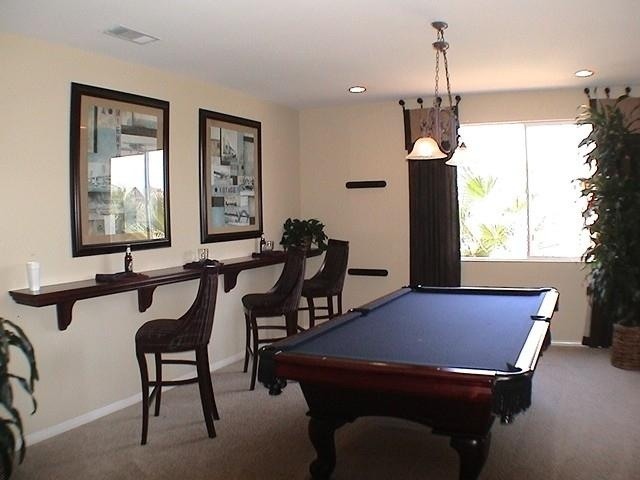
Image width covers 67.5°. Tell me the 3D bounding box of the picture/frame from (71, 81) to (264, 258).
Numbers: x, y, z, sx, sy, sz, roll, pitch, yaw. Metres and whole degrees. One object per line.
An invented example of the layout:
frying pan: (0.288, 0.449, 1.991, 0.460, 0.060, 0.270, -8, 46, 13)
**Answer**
picture/frame: (-1.571, -0.731, 4.801, 0.083, 1.203, 1.945, -1, -1, 31)

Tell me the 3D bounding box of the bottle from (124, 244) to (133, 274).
bottle: (-1.741, 0.187, 4.378, 0.084, 0.264, 0.346, -3, 11, -22)

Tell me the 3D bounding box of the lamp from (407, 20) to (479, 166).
lamp: (1.281, -1.558, 4.957, 0.557, 1.728, 0.918, 3, 10, 25)

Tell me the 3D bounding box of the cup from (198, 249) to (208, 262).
cup: (-1.186, 0.147, 4.960, 0.113, 0.130, 0.116, 0, 3, 0)
